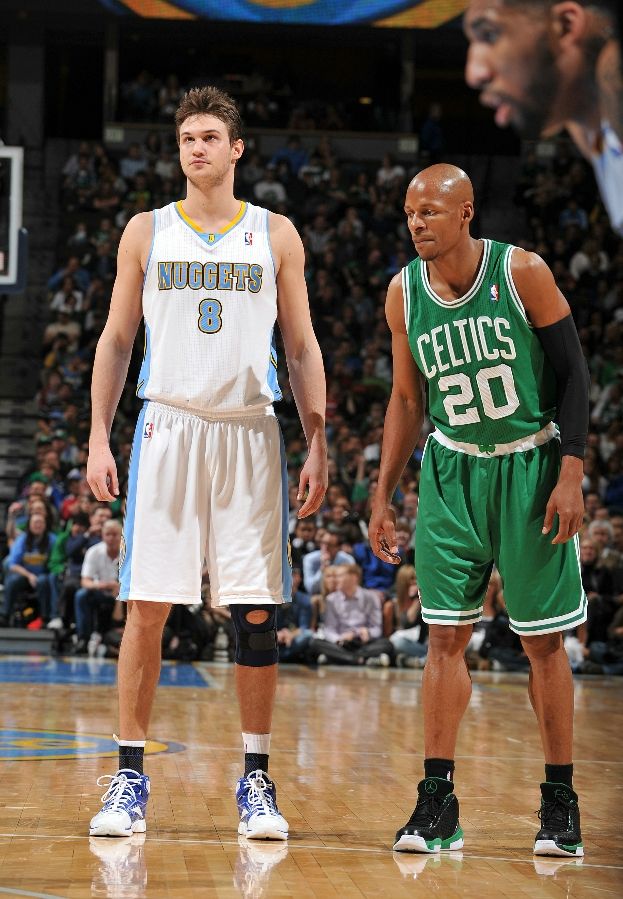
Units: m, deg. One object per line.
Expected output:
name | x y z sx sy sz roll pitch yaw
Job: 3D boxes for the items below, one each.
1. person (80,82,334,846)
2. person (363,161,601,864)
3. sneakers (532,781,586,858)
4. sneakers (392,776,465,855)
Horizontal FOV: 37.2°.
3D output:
person | -0.223 0.005 2.203 0.591 1.816 0.420 1 -1 -11
person | 0.395 0.121 2.186 0.515 1.580 0.431 1 -1 3
sneakers | 0.554 0.840 2.086 0.092 0.153 0.242 -11 -20 23
sneakers | 0.259 0.811 2.023 0.115 0.155 0.182 0 -1 25
